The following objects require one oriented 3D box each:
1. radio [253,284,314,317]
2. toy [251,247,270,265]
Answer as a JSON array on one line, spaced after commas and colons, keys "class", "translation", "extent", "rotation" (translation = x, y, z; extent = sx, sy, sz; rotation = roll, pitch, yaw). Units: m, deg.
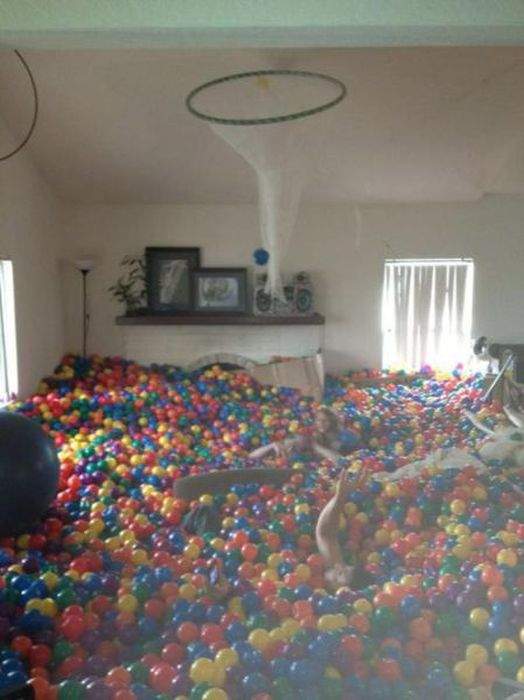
[{"class": "radio", "translation": [0.062, -0.144, 1.558], "extent": [0.173, 0.089, 0.048], "rotation": [-3, 5, -1]}, {"class": "toy", "translation": [-0.005, -0.270, 1.548], "extent": [0.049, 0.047, 0.013], "rotation": [12, 4, 26]}]
